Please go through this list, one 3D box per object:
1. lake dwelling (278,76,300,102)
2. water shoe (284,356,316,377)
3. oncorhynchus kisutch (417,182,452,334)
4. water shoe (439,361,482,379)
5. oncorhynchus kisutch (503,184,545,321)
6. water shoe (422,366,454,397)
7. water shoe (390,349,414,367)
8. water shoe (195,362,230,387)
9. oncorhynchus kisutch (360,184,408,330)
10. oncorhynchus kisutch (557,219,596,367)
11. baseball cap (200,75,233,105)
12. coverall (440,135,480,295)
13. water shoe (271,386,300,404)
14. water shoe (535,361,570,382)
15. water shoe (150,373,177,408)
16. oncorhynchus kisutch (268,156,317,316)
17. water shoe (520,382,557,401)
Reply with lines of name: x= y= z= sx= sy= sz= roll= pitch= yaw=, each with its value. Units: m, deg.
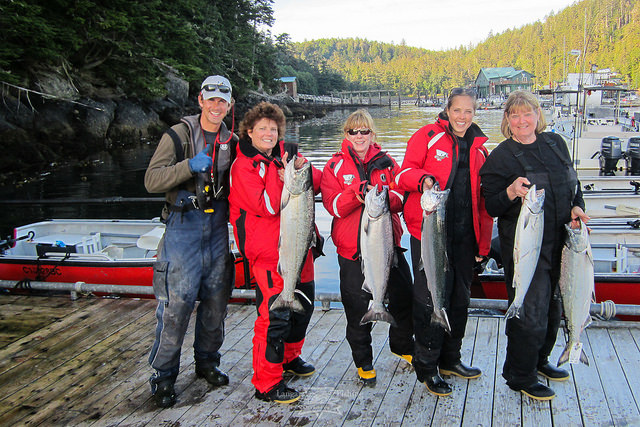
lake dwelling: x=-4.767 y=-20.291 z=77.206 sx=2.342 sy=3.850 sz=7.120 roll=-5 pitch=13 yaw=1
water shoe: x=-0.203 y=1.566 z=4.884 sx=0.377 sy=0.160 sz=0.145 roll=1 pitch=8 yaw=8
oncorhynchus kisutch: x=1.120 y=0.350 z=4.460 sx=0.470 sy=1.450 sz=0.256 roll=0 pitch=5 yaw=27
water shoe: x=1.395 y=1.551 z=4.695 sx=0.407 sy=0.171 sz=0.163 roll=-2 pitch=8 yaw=15
oncorhynchus kisutch: x=1.834 y=0.351 z=4.256 sx=0.481 sy=1.234 sz=0.204 roll=-11 pitch=14 yaw=-23
water shoe: x=1.111 y=1.608 z=4.561 sx=0.143 sy=0.144 sz=0.336 roll=-13 pitch=12 yaw=-36
water shoe: x=0.856 y=1.492 z=4.982 sx=0.248 sy=0.100 sz=0.088 roll=18 pitch=29 yaw=32
water shoe: x=-1.075 y=1.616 z=4.839 sx=0.369 sy=0.155 sz=0.180 roll=10 pitch=12 yaw=27
oncorhynchus kisutch: x=0.524 y=0.397 z=4.445 sx=0.352 sy=1.332 sz=0.291 roll=-4 pitch=13 yaw=6
oncorhynchus kisutch: x=2.354 y=0.836 z=4.355 sx=0.269 sy=1.543 sz=0.488 roll=2 pitch=15 yaw=28
baseball cap: x=-1.003 y=-1.267 z=4.655 sx=0.293 sy=0.216 sz=0.406 roll=2 pitch=36 yaw=-20
coverall: x=1.395 y=0.018 z=4.579 sx=0.298 sy=1.468 sz=0.341 roll=-3 pitch=-7 yaw=39
water shoe: x=-0.326 y=1.707 z=4.469 sx=0.293 sy=0.133 sz=0.126 roll=-1 pitch=12 yaw=5
water shoe: x=2.270 y=1.537 z=4.688 sx=0.369 sy=0.148 sz=0.140 roll=1 pitch=9 yaw=23
water shoe: x=-1.485 y=1.670 z=4.537 sx=0.234 sy=0.327 sz=0.168 roll=-9 pitch=14 yaw=-19
oncorhynchus kisutch: x=-0.258 y=0.214 z=4.397 sx=0.246 sy=1.408 sz=0.498 roll=5 pitch=17 yaw=37
water shoe: x=2.034 y=1.631 z=4.419 sx=0.318 sy=0.135 sz=0.147 roll=-3 pitch=9 yaw=27
